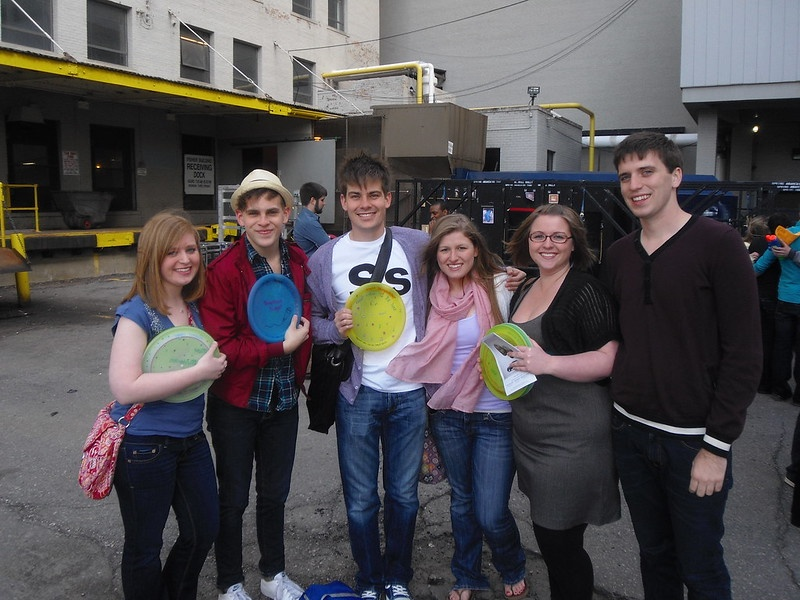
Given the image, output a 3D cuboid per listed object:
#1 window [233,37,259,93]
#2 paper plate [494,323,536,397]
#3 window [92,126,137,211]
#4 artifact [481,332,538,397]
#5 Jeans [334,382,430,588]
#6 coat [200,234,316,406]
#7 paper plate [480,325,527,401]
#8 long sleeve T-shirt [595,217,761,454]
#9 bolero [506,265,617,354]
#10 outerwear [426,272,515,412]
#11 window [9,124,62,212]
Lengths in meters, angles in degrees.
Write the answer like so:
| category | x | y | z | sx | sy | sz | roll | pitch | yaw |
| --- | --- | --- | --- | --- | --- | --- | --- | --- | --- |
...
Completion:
| category | x | y | z | sx | sy | sz | roll | pitch | yaw |
| --- | --- | --- | --- | --- | --- | --- | --- | --- | --- |
| window | -5.043 | -7.571 | 19.548 | 0.331 | 1.389 | 1.448 | 1 | 9 | 25 |
| paper plate | 0.627 | 0.355 | 3.294 | 0.255 | 0.403 | 0.172 | 4 | 13 | 25 |
| window | -8.493 | -3.901 | 17.903 | 0.284 | 2.500 | 1.460 | 4 | 13 | 24 |
| artifact | 0.591 | 0.354 | 3.357 | 0.078 | 0.347 | 0.330 | -9 | 14 | -42 |
| Jeans | -0.105 | 1.168 | 3.720 | 0.565 | 1.273 | 0.448 | -2 | 12 | 2 |
| coat | -0.816 | 0.109 | 3.312 | 0.172 | 0.900 | 0.794 | -8 | -19 | 44 |
| paper plate | 0.551 | 0.319 | 3.352 | 0.075 | 0.370 | 0.366 | 1 | 43 | -34 |
| long sleeve T-shirt | 1.409 | 0.153 | 3.001 | 0.696 | 1.081 | 0.382 | 6 | 15 | 33 |
| bolero | 0.887 | 0.102 | 3.362 | 0.355 | 0.505 | 0.684 | 2 | 0 | -30 |
| outerwear | 0.440 | 0.282 | 3.803 | 0.556 | 0.795 | 0.238 | 4 | -8 | 33 |
| window | -9.725 | -3.555 | 15.999 | 0.271 | 2.391 | 1.408 | 4 | 14 | 27 |
